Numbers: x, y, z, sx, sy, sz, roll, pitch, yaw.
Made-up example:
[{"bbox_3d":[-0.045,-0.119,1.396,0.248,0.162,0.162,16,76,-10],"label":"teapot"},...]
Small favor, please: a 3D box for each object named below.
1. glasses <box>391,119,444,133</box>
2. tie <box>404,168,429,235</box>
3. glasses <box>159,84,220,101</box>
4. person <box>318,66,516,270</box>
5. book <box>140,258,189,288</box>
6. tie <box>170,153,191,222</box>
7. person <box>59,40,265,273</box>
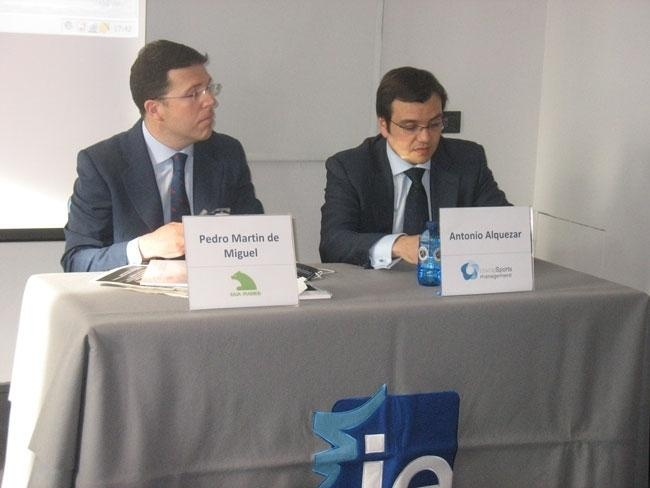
[{"bbox_3d":[0.362,-0.461,2.305,0.183,0.049,0.070,-1,13,-10],"label":"glasses"},{"bbox_3d":[0.367,-0.169,2.353,0.085,0.306,0.081,0,31,5],"label":"tie"},{"bbox_3d":[-0.506,-0.575,2.239,0.221,0.067,0.075,-3,14,-21],"label":"glasses"},{"bbox_3d":[0.326,-0.322,2.361,0.591,0.739,0.820,14,18,43],"label":"person"},{"bbox_3d":[-0.474,0.089,1.745,0.106,0.028,0.106,1,11,-6],"label":"book"},{"bbox_3d":[-0.566,-0.200,2.323,0.088,0.368,0.053,-8,-34,-1],"label":"tie"},{"bbox_3d":[-0.638,-0.351,2.247,0.570,0.812,0.780,6,14,20],"label":"person"}]
